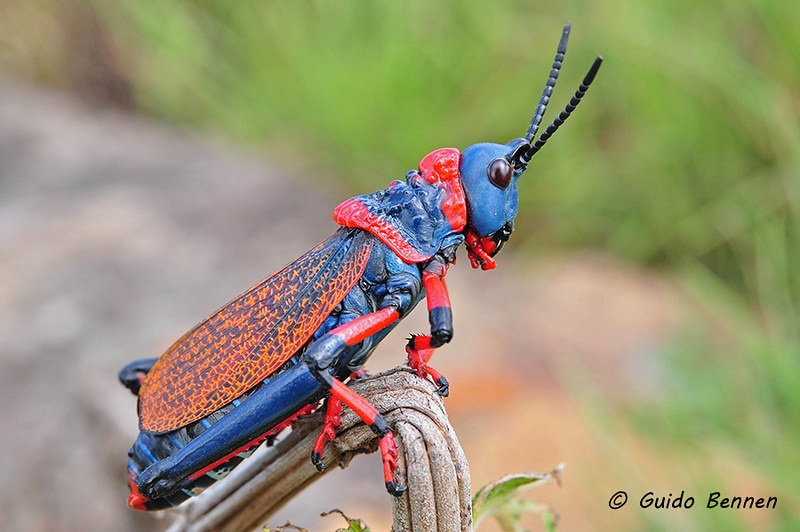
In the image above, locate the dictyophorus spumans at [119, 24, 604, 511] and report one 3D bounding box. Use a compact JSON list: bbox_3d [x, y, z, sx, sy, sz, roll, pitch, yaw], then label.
[{"bbox_3d":[-0.121,0.081,3.644,2.185,1.095,0.945,-32,18,-13],"label":"dictyophorus spumans"}]
